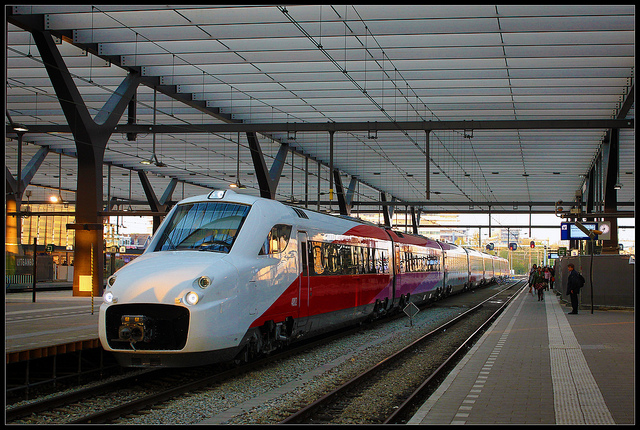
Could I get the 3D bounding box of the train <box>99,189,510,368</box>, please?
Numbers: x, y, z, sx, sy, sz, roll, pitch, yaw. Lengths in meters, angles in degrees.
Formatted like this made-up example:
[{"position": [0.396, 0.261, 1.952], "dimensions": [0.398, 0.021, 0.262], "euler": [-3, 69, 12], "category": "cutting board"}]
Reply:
[{"position": [1.948, 2.518, 21.297], "dimensions": [2.612, 4.339, 25.918], "euler": [0, -5, 25], "category": "train"}]
